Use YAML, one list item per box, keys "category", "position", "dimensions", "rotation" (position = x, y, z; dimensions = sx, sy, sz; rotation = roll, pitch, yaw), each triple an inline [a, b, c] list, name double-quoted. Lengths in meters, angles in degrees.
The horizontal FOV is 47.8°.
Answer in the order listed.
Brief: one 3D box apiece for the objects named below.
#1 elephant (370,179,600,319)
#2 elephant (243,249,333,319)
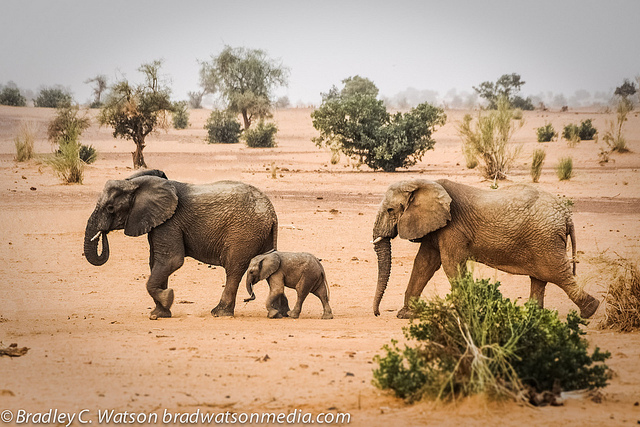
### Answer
- category: "elephant"
  position: [3.114, 0.752, 14.072]
  dimensions: [4.405, 2.596, 1.844]
  rotation: [1, 3, 23]
- category: "elephant"
  position: [-0.661, 1.412, 14.297]
  dimensions: [1.776, 1.294, 0.743]
  rotation: [0, -1, 2]
